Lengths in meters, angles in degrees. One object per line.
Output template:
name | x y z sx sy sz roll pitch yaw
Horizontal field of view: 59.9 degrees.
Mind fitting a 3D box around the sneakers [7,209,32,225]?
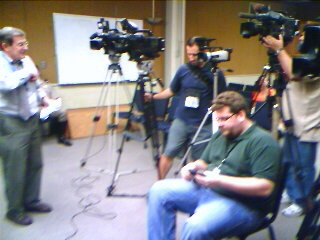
sneakers | -1.371 0.957 2.755 0.244 0.090 0.119 6 12 8

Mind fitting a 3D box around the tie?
tie | -1.310 -0.220 2.687 0.162 0.483 0.154 26 33 33

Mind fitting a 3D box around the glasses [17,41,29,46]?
glasses | -1.285 -0.717 2.619 0.065 0.044 0.189 -5 17 -12

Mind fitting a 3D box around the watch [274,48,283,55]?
watch | 1.003 -0.576 2.345 0.050 0.017 0.049 -28 16 -9

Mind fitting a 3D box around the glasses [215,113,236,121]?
glasses | 0.493 -0.010 2.024 0.110 0.017 0.021 -31 -27 9

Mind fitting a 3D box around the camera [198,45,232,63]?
camera | 0.562 -0.669 2.892 0.390 0.168 0.225 0 14 25

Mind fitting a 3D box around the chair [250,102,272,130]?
chair | 1.352 -0.056 3.772 0.329 0.394 0.301 0 1 -32
